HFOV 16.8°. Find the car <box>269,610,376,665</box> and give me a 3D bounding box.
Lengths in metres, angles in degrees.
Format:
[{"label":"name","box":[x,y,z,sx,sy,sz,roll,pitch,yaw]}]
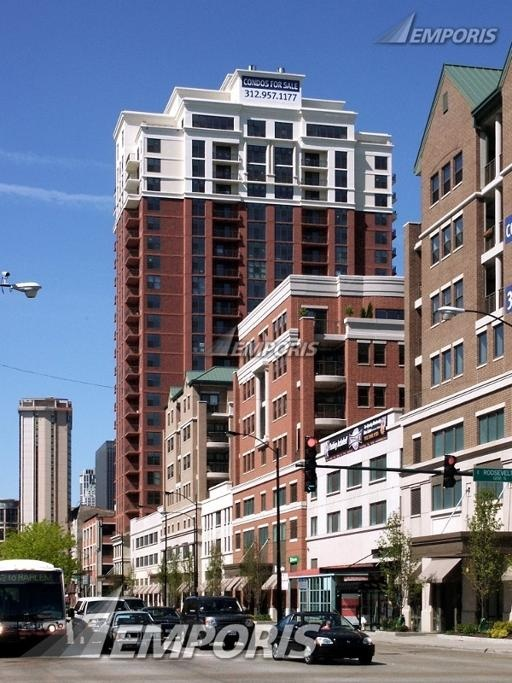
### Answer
[{"label":"car","box":[2.405,9.310,57.041,2.398,1.930,3.061,2,-14,-14]}]
